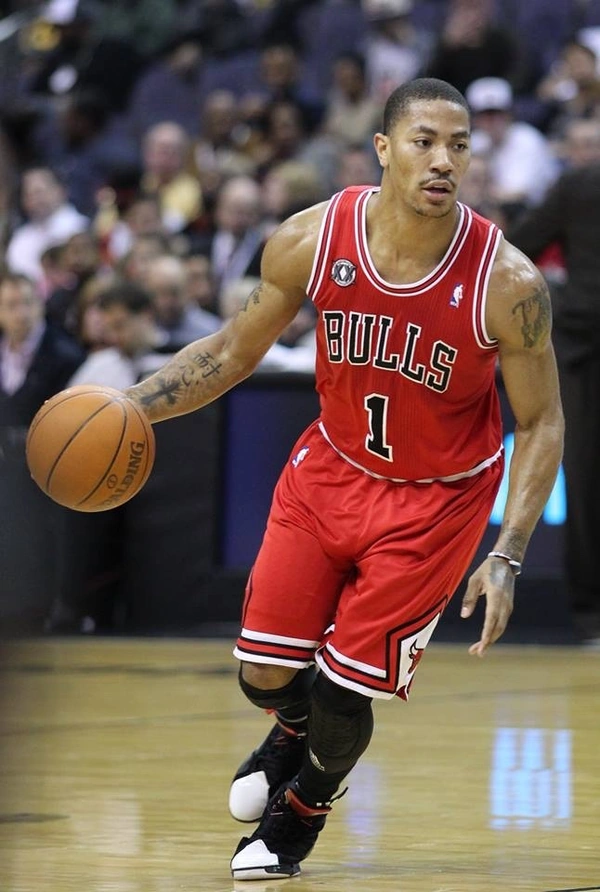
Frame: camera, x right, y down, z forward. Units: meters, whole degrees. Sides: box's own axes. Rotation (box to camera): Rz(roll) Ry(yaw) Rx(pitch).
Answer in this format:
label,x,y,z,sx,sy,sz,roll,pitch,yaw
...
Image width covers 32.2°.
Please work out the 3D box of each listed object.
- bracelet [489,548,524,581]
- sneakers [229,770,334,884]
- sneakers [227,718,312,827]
label,x,y,z,sx,sy,sz,roll,pitch,yaw
bracelet,0.411,0.228,2.040,0.072,0.074,0.047,34,90,11
sneakers,-0.033,0.794,2.185,0.109,0.300,0.124,35,102,10
sneakers,-0.046,0.742,2.476,0.112,0.333,0.129,38,112,4
